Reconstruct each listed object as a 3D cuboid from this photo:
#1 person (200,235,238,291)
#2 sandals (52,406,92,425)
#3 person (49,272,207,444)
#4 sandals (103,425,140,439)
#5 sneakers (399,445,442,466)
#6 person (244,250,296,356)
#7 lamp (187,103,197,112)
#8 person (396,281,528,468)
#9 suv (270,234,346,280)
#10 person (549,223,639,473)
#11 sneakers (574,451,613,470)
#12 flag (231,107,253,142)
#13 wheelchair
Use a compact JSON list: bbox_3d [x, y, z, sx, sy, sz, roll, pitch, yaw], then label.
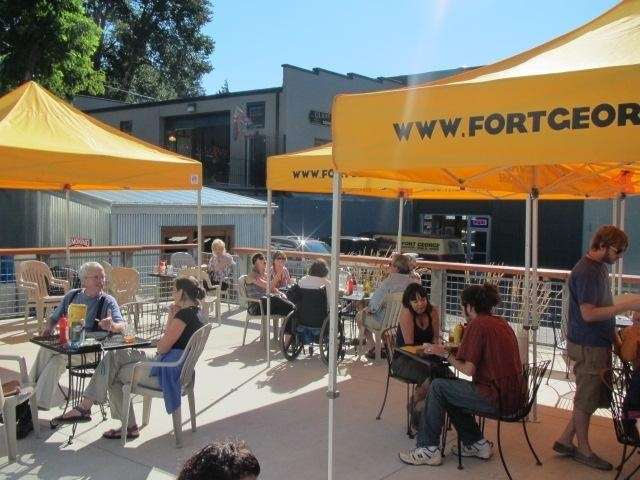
[{"bbox_3d":[-2.002,0.487,11.925,0.760,1.400,0.920,-2,-4,20],"label":"person"},{"bbox_3d":[-2.757,1.970,6.493,0.440,0.194,0.158,5,-8,-7],"label":"sandals"},{"bbox_3d":[-1.957,1.245,6.189,1.393,1.705,0.630,2,7,15],"label":"person"},{"bbox_3d":[-2.122,2.056,6.113,0.281,0.106,0.162,3,-11,-3],"label":"sandals"},{"bbox_3d":[1.009,2.146,5.802,0.438,0.230,0.174,2,0,3],"label":"sneakers"},{"bbox_3d":[-0.950,0.805,9.465,1.094,1.712,0.678,-3,0,0],"label":"person"},{"bbox_3d":[-6.651,-6.851,29.787,0.425,0.452,0.218,-3,-7,33],"label":"lamp"},{"bbox_3d":[1.461,1.346,5.587,1.018,1.811,0.474,4,7,27],"label":"person"},{"bbox_3d":[-0.575,0.319,18.915,2.020,1.193,1.224,-1,2,41],"label":"suv"},{"bbox_3d":[2.605,1.042,5.533,0.572,2.344,0.535,3,7,23],"label":"person"},{"bbox_3d":[2.653,2.128,5.604,0.246,0.099,0.147,-1,-8,36],"label":"sneakers"},{"bbox_3d":[-3.931,-5.713,28.475,1.075,1.563,0.761,1,6,0],"label":"flag"},{"bbox_3d":[-0.124,1.454,8.664,0.690,1.110,0.850,4,8,36],"label":"wheelchair"}]
